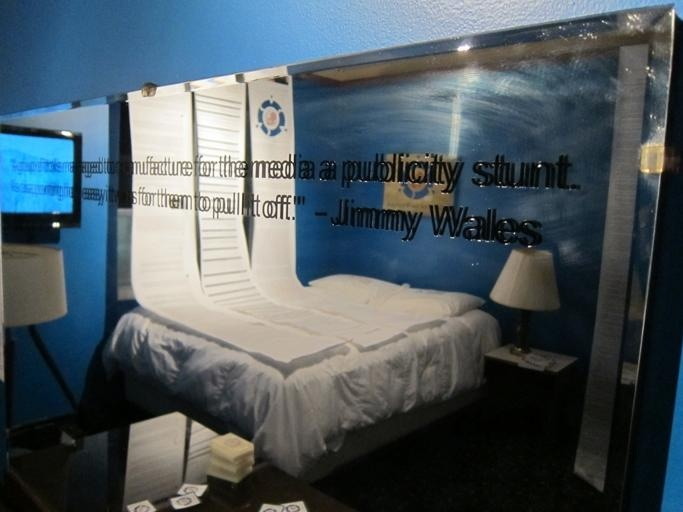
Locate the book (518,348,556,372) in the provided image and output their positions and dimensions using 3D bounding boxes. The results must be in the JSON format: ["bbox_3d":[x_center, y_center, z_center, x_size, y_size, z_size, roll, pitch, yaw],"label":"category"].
[{"bbox_3d":[0.397,0.210,1.040,0.045,0.015,0.049,6,8,24],"label":"book"}]
